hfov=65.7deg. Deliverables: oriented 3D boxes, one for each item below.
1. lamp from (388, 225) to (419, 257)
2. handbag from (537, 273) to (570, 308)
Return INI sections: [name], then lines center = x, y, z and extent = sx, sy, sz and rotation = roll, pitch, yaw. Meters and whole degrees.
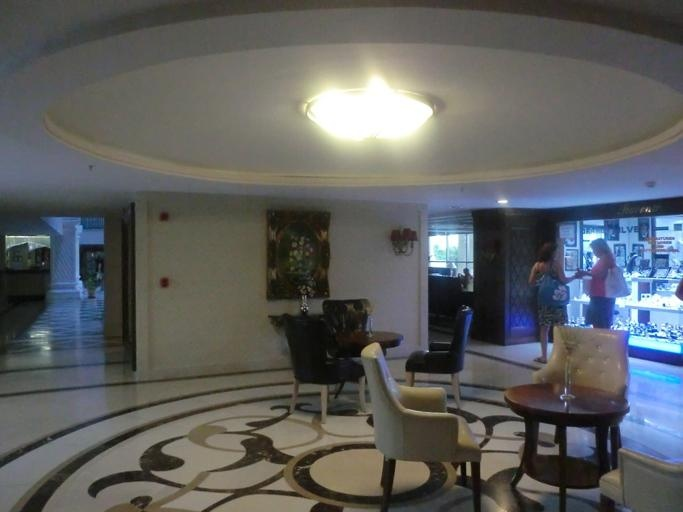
[lamp]
center = 1.007, -0.215, 8.549
extent = 0.374, 0.454, 0.533
rotation = -1, 2, 10
[handbag]
center = 3.193, 0.548, 7.909
extent = 0.496, 0.550, 0.314
rotation = 7, -12, -25
